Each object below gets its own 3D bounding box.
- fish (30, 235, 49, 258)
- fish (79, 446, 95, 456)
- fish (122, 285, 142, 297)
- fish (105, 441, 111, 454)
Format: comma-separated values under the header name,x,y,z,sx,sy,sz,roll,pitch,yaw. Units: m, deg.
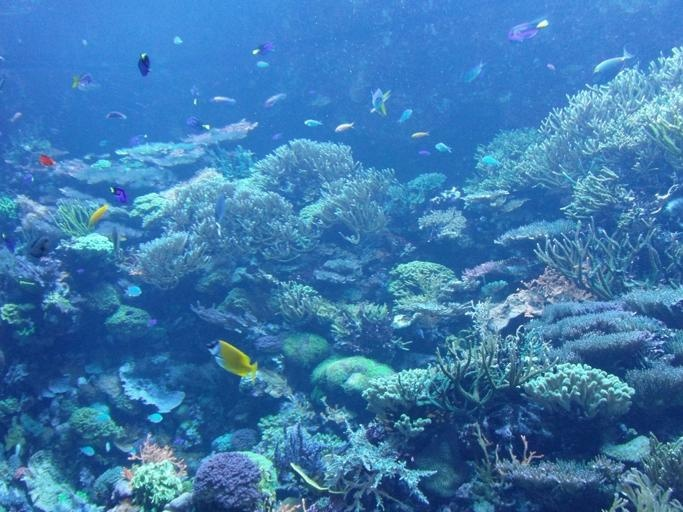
name,x,y,z,sx,sy,sz,roll,pitch,yaw
fish,-8.423,-0.274,18.854,0.488,0.631,0.240,32,-16,-19
fish,-7.166,5.569,19.188,0.276,0.184,0.377,15,-12,45
fish,-6.325,1.063,20.659,0.565,0.362,0.366,4,22,38
fish,-6.647,5.420,19.249,0.153,0.283,0.082,6,-9,-4
